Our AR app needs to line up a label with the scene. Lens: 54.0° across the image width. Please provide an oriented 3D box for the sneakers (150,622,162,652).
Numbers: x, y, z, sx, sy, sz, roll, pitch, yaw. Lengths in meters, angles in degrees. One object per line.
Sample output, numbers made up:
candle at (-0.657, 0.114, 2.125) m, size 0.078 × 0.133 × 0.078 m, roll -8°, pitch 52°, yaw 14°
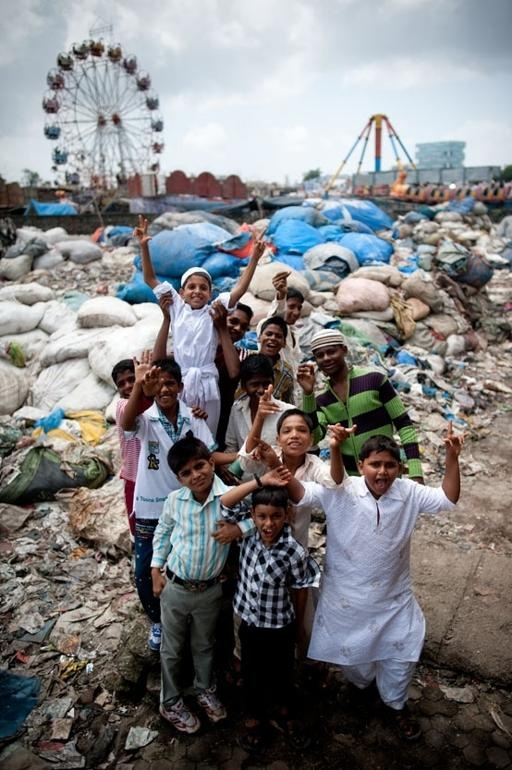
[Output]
sneakers at (-0.438, 1.046, 2.127) m, size 0.047 × 0.061 × 0.130 m, roll 6°, pitch 49°, yaw -23°

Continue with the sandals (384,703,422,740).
sandals at (0.542, 1.249, 1.860) m, size 0.101 × 0.030 × 0.134 m, roll -7°, pitch -12°, yaw 8°

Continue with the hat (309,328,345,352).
hat at (0.317, -0.199, 2.172) m, size 0.113 × 0.066 × 0.112 m, roll -13°, pitch -4°, yaw 18°
